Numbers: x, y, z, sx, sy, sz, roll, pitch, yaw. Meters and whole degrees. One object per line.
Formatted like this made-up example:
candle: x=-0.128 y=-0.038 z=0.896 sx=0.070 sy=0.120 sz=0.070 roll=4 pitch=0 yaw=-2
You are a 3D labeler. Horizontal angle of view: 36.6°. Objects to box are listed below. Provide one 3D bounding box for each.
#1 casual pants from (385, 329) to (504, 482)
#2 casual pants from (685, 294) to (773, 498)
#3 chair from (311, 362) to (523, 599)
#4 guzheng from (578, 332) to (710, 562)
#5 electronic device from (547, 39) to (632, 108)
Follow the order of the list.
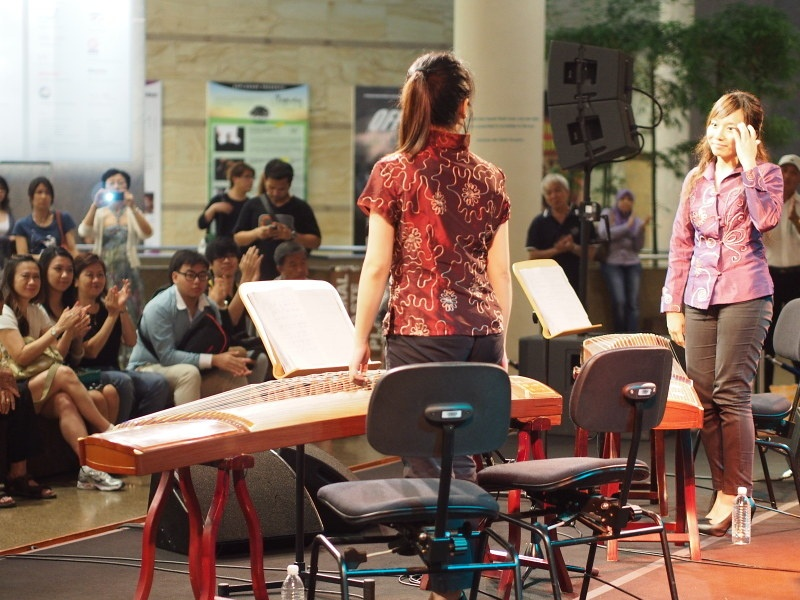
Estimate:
casual pants: x=0.177 y=0.435 z=5.095 sx=0.569 sy=0.592 sz=0.131 roll=3 pitch=1 yaw=-26
casual pants: x=1.686 y=0.465 z=6.259 sx=0.280 sy=1.078 sz=0.389 roll=-3 pitch=2 yaw=-32
chair: x=0.167 y=0.707 z=5.229 sx=0.903 sy=1.330 sz=0.905 roll=1 pitch=-2 yaw=-15
guzheng: x=1.136 y=0.733 z=6.198 sx=0.739 sy=1.108 sz=0.733 roll=8 pitch=1 yaw=19
electronic device: x=1.120 y=-1.357 z=7.282 sx=0.612 sy=0.481 sz=0.346 roll=4 pitch=6 yaw=33
